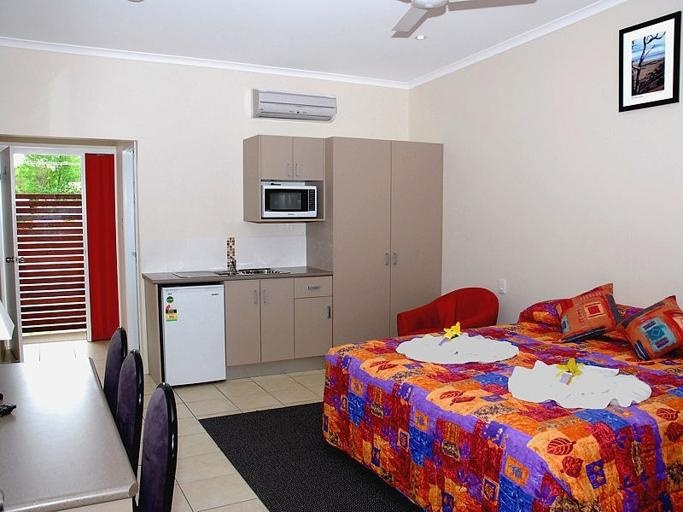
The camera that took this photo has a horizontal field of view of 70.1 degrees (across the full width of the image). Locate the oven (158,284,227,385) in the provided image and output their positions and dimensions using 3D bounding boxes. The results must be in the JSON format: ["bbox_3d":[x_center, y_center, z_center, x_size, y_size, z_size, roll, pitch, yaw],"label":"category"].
[{"bbox_3d":[-1.503,0.855,5.046,0.699,1.015,0.730,-11,-13,25],"label":"oven"}]

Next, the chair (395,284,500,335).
[{"bbox_3d":[1.083,0.443,4.697,0.650,0.666,0.609,-1,-3,44],"label":"chair"}]
